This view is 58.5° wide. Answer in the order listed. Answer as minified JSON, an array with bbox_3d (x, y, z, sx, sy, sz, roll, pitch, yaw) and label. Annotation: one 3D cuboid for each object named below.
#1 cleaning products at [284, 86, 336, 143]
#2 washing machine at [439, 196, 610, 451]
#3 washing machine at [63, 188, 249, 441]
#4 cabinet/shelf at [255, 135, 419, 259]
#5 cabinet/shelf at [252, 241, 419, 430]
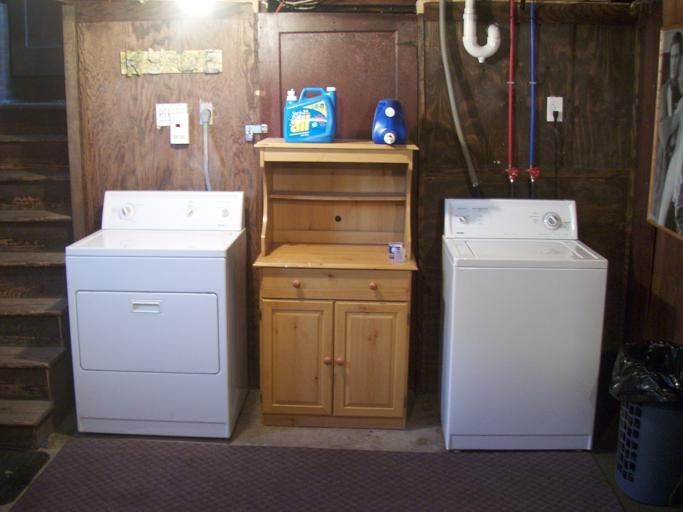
[{"bbox_3d":[-0.177,-0.806,3.517,0.346,0.351,0.142,0,4,3],"label":"cleaning products"},{"bbox_3d":[0.998,0.375,3.527,0.839,1.354,0.548,-1,14,2],"label":"washing machine"},{"bbox_3d":[-1.061,0.335,3.673,0.929,1.362,0.642,-1,14,3],"label":"washing machine"},{"bbox_3d":[-0.018,-0.377,3.685,0.709,0.554,0.259,0,3,2],"label":"cabinet/shelf"},{"bbox_3d":[-0.026,0.488,3.746,0.942,1.021,0.503,2,11,0],"label":"cabinet/shelf"}]
